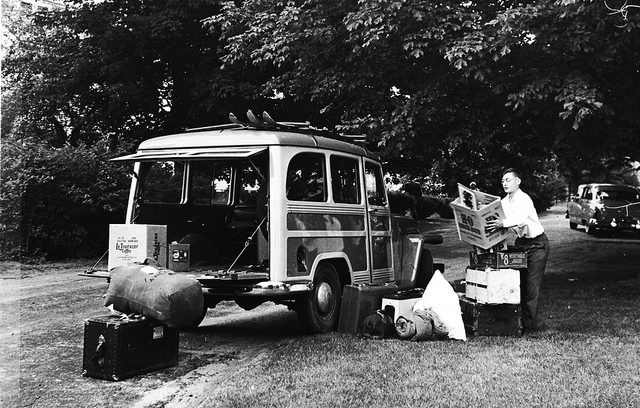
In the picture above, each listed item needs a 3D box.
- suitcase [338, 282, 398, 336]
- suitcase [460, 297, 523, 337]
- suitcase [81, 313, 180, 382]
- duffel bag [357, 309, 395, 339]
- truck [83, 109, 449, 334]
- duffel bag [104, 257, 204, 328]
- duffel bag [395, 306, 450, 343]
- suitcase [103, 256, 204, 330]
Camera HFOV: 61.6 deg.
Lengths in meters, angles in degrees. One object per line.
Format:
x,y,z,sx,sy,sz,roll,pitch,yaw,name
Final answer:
0.913,1.891,9.875,0.374,0.898,1.126,8,3,44,suitcase
3.011,2.060,9.787,0.933,0.568,1.214,-1,-2,-8,suitcase
-2.785,2.085,7.964,0.689,0.779,1.198,-2,-5,29,suitcase
0.971,2.083,9.235,0.634,0.451,0.246,0,-4,3,duffel bag
-0.500,0.207,10.941,4.004,3.278,6.517,1,2,38,truck
-2.540,1.259,8.108,1.486,0.741,0.802,6,10,38,duffel bag
1.742,2.037,9.029,0.668,0.302,0.507,2,7,-3,duffel bag
-2.507,1.264,8.094,1.496,0.862,0.806,7,8,36,suitcase
